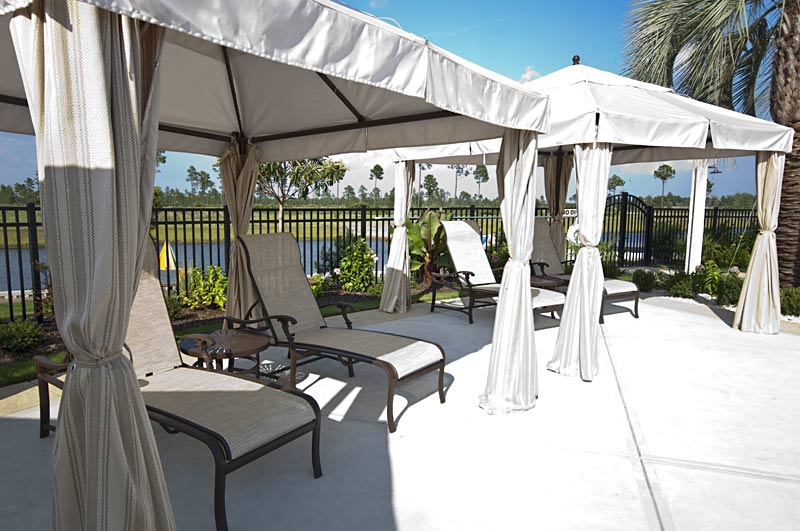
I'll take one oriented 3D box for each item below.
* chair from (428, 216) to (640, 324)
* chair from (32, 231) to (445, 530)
[{"bbox_3d":[1.797,0.155,9.158,1.812,2.125,3.326,-4,7,-37],"label":"chair"},{"bbox_3d":[-1.465,0.806,5.115,3.332,2.197,2.198,-6,7,-44],"label":"chair"}]
